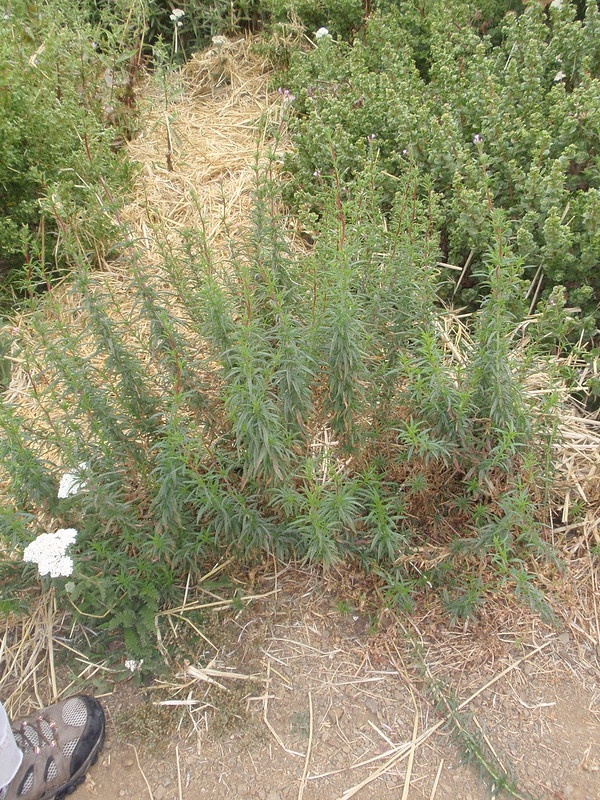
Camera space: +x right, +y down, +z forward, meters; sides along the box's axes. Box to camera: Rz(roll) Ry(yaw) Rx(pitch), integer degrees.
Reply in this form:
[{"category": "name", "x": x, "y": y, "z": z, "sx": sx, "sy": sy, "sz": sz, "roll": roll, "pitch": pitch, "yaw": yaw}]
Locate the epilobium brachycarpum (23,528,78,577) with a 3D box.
[{"category": "epilobium brachycarpum", "x": -0.844, "y": 0.526, "z": 2.280, "sx": 0.154, "sy": 0.143, "sz": 0.136, "roll": -1, "pitch": 32, "yaw": 12}]
